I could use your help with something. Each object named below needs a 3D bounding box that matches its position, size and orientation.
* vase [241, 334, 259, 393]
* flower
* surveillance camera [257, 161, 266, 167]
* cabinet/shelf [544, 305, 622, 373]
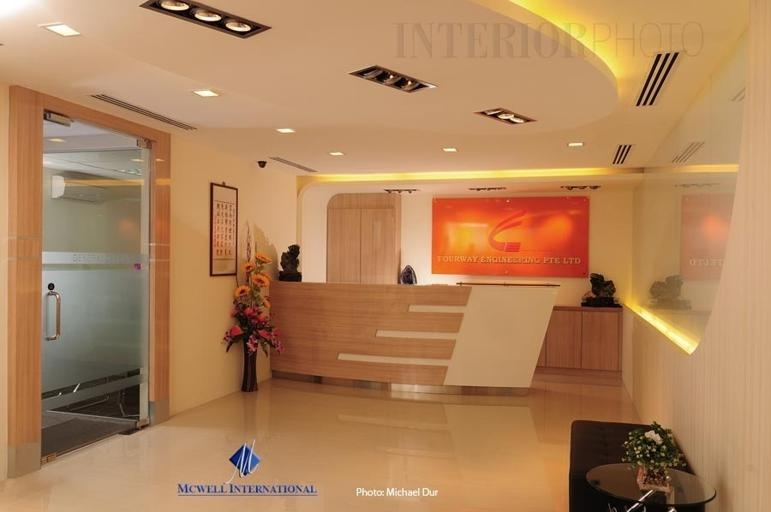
[{"bbox_3d":[-2.105,1.700,7.848,0.228,0.797,0.400,0,3,-14],"label":"vase"},{"bbox_3d":[-2.023,0.840,8.050,0.693,1.711,1.129,1,3,6],"label":"flower"},{"bbox_3d":[-1.993,-1.495,8.204,0.104,0.070,0.102,-1,1,16],"label":"surveillance camera"},{"bbox_3d":[3.701,1.550,9.316,1.436,1.127,0.465,1,-5,15],"label":"cabinet/shelf"}]
